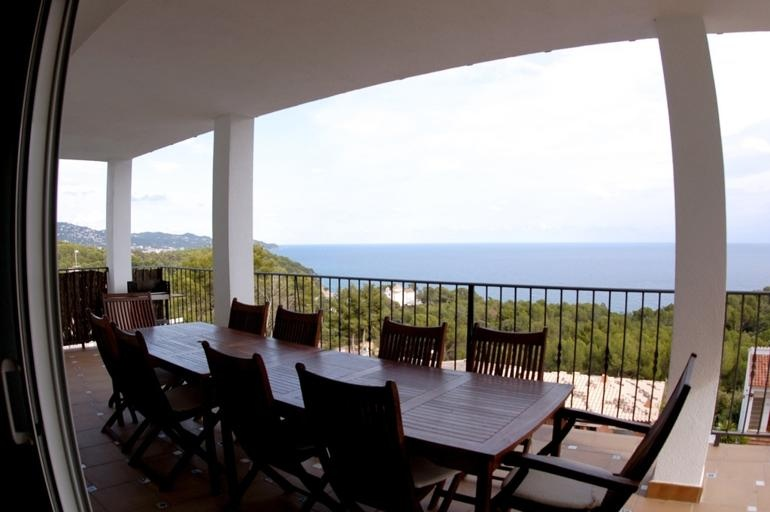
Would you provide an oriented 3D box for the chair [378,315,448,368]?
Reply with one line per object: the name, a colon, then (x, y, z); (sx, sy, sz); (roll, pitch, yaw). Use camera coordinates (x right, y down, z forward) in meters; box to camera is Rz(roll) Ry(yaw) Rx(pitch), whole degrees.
chair: (0.219, 0.643, 4.090); (0.352, 0.649, 0.404); (2, -7, 27)
